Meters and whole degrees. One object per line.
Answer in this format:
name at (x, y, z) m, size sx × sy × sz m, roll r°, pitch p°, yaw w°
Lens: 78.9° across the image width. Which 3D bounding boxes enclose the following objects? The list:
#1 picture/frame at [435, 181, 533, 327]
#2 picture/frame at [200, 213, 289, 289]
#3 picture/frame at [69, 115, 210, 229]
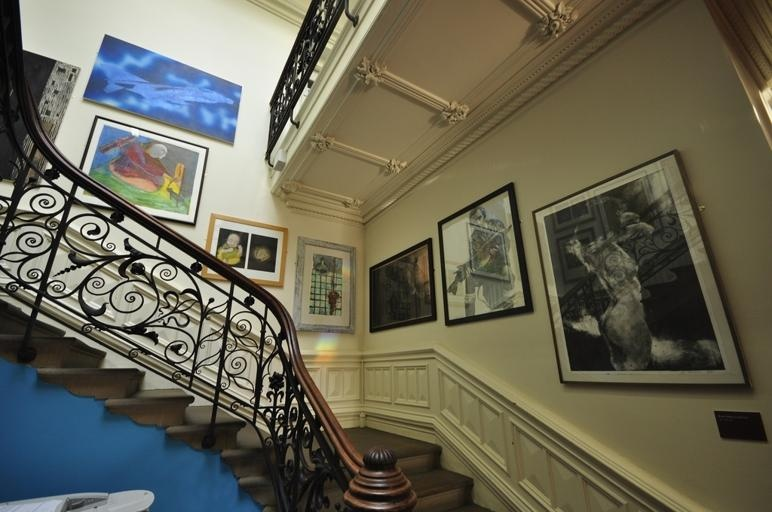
picture/frame at (1.165, 0.008, 5.389) m, size 0.066 × 1.862 × 1.358 m, roll 12°, pitch -20°, yaw -30°
picture/frame at (-1.935, -0.050, 6.292) m, size 0.974 × 0.861 × 0.048 m, roll 10°, pitch -17°, yaw -30°
picture/frame at (-3.197, -1.048, 5.990) m, size 1.334 × 1.314 × 0.085 m, roll 19°, pitch -26°, yaw -30°
